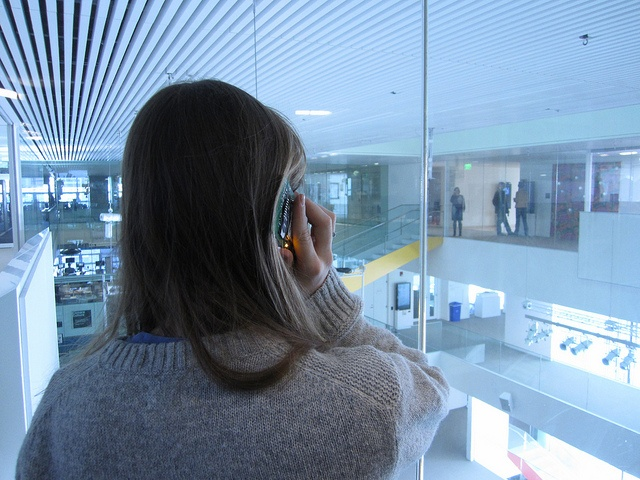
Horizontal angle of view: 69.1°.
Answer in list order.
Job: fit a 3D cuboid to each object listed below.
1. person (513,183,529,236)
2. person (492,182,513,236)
[{"bbox_3d":[3.615,-0.551,8.315,0.238,0.954,0.471,1,7,25],"label":"person"},{"bbox_3d":[3.282,-0.526,8.334,0.328,0.927,0.346,-2,7,4],"label":"person"}]
